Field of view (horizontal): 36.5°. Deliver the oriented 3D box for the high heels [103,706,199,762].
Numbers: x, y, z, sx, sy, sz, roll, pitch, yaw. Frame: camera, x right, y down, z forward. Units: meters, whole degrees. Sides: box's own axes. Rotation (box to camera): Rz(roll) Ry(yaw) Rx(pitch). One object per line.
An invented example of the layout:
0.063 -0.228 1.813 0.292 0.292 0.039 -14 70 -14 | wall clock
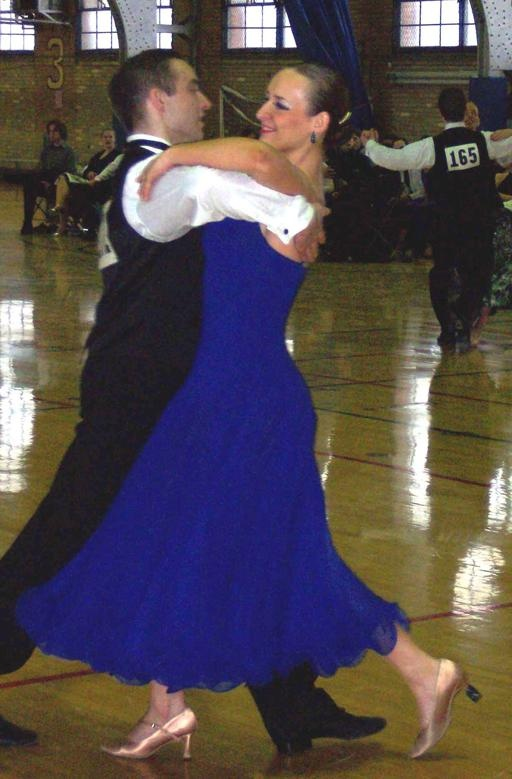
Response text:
-0.164 0.571 1.295 0.196 0.087 0.061 0 -3 0 | high heels
